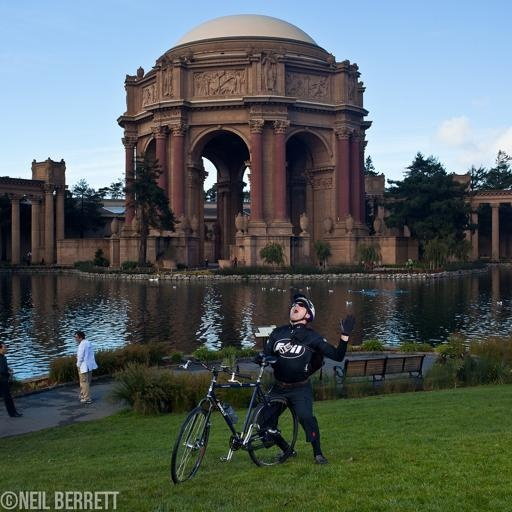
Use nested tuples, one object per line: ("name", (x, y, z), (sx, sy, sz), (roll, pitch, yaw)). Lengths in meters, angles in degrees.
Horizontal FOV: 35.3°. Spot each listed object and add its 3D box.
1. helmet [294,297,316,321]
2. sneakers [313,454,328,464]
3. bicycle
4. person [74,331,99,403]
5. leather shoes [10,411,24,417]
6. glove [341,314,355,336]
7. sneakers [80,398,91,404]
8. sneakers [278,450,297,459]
("helmet", (0.597, 0.631, 9.578), (0.195, 0.308, 0.229), (0, -9, 15))
("sneakers", (0.750, 2.315, 9.214), (0.154, 0.090, 0.201), (-2, -3, 4))
("bicycle", (-0.440, 1.906, 9.609), (1.785, 1.325, 0.890), (7, -5, -37))
("person", (-3.119, 1.999, 14.903), (0.343, 1.256, 1.482), (-1, -3, -11))
("leather shoes", (-3.916, 2.591, 13.240), (0.187, 0.092, 0.068), (-1, 1, -7))
("glove", (1.075, 0.774, 9.260), (0.173, 0.282, 0.074), (13, -20, 16))
("sneakers", (-2.987, 2.559, 14.243), (0.204, 0.107, 0.072), (-2, 7, -8))
("sneakers", (0.395, 2.321, 9.462), (0.241, 0.121, 0.082), (1, -3, -37))
